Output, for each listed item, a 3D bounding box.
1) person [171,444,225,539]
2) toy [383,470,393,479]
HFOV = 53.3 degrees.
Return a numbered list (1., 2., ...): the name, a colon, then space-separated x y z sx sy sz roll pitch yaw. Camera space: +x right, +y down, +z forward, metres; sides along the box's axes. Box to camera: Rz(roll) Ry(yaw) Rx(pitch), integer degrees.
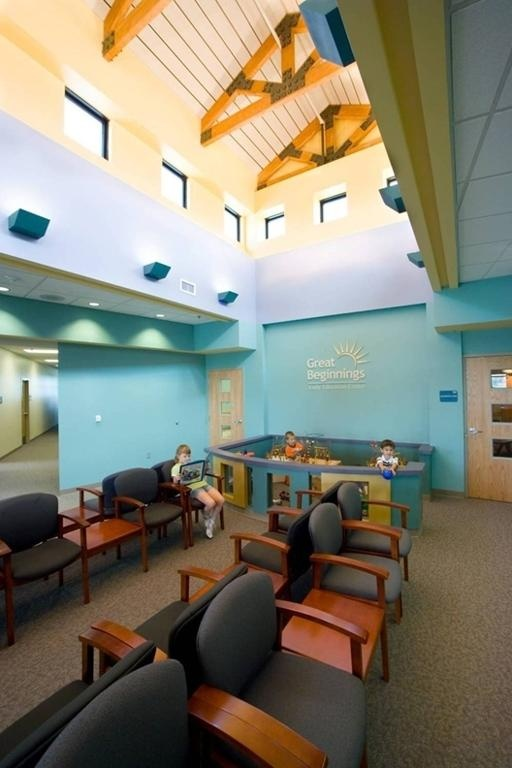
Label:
1. person: -0.556 1.050 4.996 0.457 0.805 0.512 3 1 26
2. toy: 1.159 0.800 4.536 0.074 0.061 0.077 -1 4 -3
